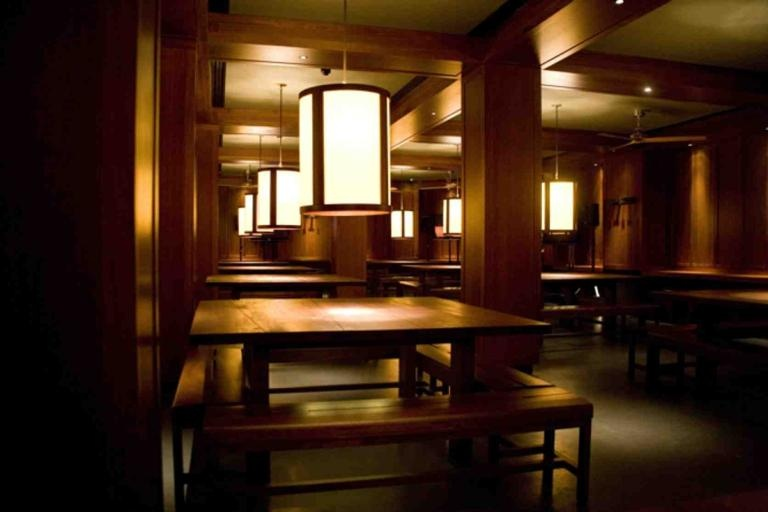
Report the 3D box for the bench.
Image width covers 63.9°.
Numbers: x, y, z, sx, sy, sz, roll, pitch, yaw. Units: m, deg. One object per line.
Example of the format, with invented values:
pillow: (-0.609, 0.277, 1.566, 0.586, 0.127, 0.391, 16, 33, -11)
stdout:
bench: (0.093, 0.739, 3.567, 2.480, 0.930, 1.760, 0, 4, -19)
